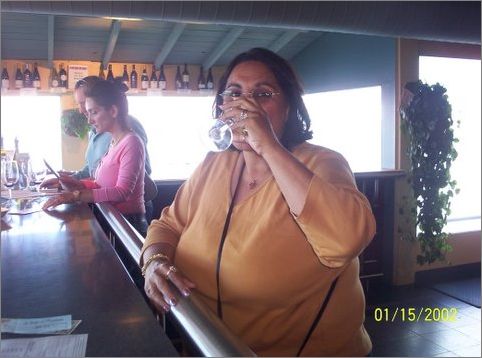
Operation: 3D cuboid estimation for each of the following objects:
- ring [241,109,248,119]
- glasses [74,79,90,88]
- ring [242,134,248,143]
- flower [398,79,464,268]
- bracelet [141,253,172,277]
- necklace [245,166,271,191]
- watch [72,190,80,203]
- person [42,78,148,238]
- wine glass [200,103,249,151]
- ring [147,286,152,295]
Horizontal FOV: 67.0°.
[{"bbox_3d":[0.007,-0.209,1.170,0.022,0.025,0.006,3,-5,13],"label":"ring"},{"bbox_3d":[-1.183,-0.705,2.700,0.069,0.057,0.097,-6,9,-3],"label":"glasses"},{"bbox_3d":[0.014,-0.131,1.211,0.015,0.031,0.007,11,-13,-24],"label":"ring"},{"bbox_3d":[1.933,-0.032,3.806,0.567,1.964,0.297,5,12,30],"label":"flower"},{"bbox_3d":[-0.317,0.307,1.313,0.071,0.091,0.037,1,-13,1],"label":"bracelet"},{"bbox_3d":[0.061,-0.006,1.419,0.073,0.106,0.045,-1,-25,34],"label":"necklace"},{"bbox_3d":[-1.030,0.105,2.283,0.040,0.072,0.061,-2,-4,-12],"label":"watch"},{"bbox_3d":[-0.963,-0.135,2.553,0.545,1.143,0.714,1,11,12],"label":"person"},{"bbox_3d":[-0.021,-0.166,1.295,0.118,0.135,0.239,12,3,-13],"label":"wine glass"},{"bbox_3d":[-0.296,0.364,1.182,0.018,0.019,0.004,-24,-18,33],"label":"ring"}]
